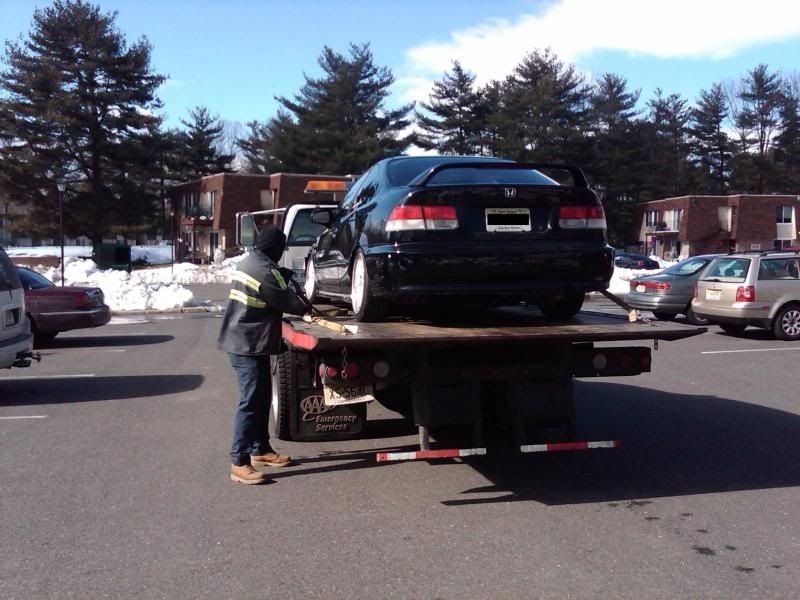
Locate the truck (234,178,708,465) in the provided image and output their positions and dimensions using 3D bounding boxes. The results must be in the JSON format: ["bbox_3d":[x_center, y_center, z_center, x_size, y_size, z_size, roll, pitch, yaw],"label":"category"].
[{"bbox_3d":[0.109,0.207,7.366,2.697,1.929,4.044,0,9,-13],"label":"truck"}]

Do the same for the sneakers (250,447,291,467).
[{"bbox_3d":[-1.297,1.557,6.803,0.338,0.169,0.174,0,-1,-3],"label":"sneakers"}]

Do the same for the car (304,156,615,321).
[{"bbox_3d":[0.345,-0.648,6.676,1.904,1.604,3.042,-7,10,-42],"label":"car"}]

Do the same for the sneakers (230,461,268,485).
[{"bbox_3d":[-1.419,1.607,6.327,0.144,0.189,0.365,1,-3,-45],"label":"sneakers"}]
